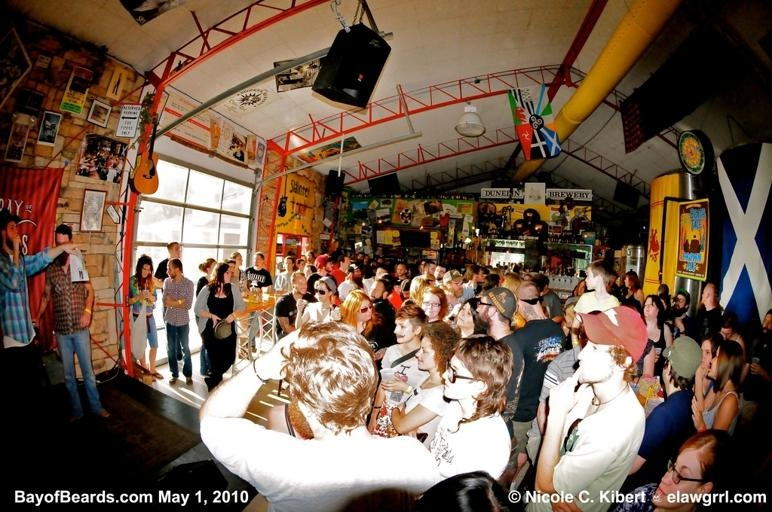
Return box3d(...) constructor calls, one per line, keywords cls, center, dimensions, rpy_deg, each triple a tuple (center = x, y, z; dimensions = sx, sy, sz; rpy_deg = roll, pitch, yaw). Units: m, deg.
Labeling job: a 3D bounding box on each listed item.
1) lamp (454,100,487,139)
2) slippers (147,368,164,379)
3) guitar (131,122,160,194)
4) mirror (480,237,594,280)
box3d(cls="lamp", center=(1.596, -2.675, 8.772), dimensions=(0.514, 0.673, 0.484), rpy_deg=(3, -3, -10))
box3d(cls="slippers", center=(-3.809, 1.947, 7.551), dimensions=(0.286, 0.078, 0.110), rpy_deg=(32, -5, -39))
box3d(cls="guitar", center=(-3.952, -1.407, 7.461), dimensions=(0.364, 0.747, 0.266), rpy_deg=(3, -3, -14))
box3d(cls="mirror", center=(5.639, 0.045, 17.092), dimensions=(4.598, 1.264, 1.606), rpy_deg=(4, 9, 11))
